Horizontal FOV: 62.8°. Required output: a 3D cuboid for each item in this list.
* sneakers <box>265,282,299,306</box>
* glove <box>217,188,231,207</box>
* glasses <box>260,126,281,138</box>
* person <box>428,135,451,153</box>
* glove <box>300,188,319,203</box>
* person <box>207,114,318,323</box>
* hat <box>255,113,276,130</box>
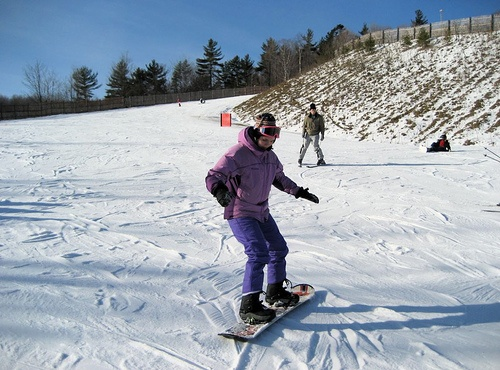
[{"bbox_3d":[0.397,1.265,4.879,0.433,0.276,0.144,2,0,-13],"label":"sneakers"},{"bbox_3d":[-0.284,0.122,4.296,0.138,0.181,0.073,-27,-12,-28],"label":"glove"},{"bbox_3d":[0.258,-0.599,4.593,0.137,0.146,0.302,7,17,38],"label":"glasses"},{"bbox_3d":[6.869,-1.416,14.728,0.582,0.694,0.299,19,1,32],"label":"person"},{"bbox_3d":[0.723,0.128,4.982,0.271,0.099,0.152,29,7,10],"label":"glove"},{"bbox_3d":[0.137,0.342,4.671,0.677,2.258,1.104,6,18,35],"label":"person"},{"bbox_3d":[0.185,-0.721,4.595,0.211,0.172,0.151,-11,18,2],"label":"hat"}]
